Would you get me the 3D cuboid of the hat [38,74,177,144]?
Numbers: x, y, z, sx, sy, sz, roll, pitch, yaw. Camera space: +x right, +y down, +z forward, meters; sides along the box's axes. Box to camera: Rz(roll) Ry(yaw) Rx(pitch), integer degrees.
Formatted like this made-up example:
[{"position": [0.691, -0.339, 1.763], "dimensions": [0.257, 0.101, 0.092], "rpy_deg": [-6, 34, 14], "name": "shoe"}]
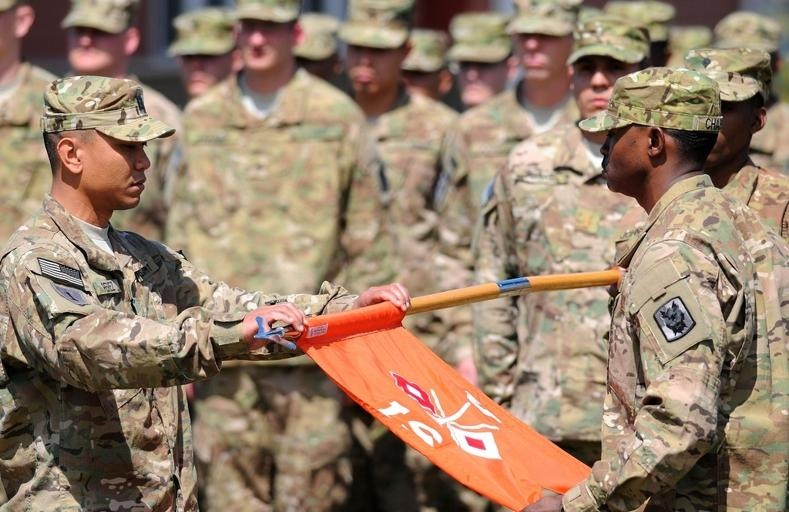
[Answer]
[{"position": [-1.668, -0.849, 9.887], "dimensions": [0.617, 0.400, 0.257], "rpy_deg": [4, 97, 12], "name": "hat"}]
